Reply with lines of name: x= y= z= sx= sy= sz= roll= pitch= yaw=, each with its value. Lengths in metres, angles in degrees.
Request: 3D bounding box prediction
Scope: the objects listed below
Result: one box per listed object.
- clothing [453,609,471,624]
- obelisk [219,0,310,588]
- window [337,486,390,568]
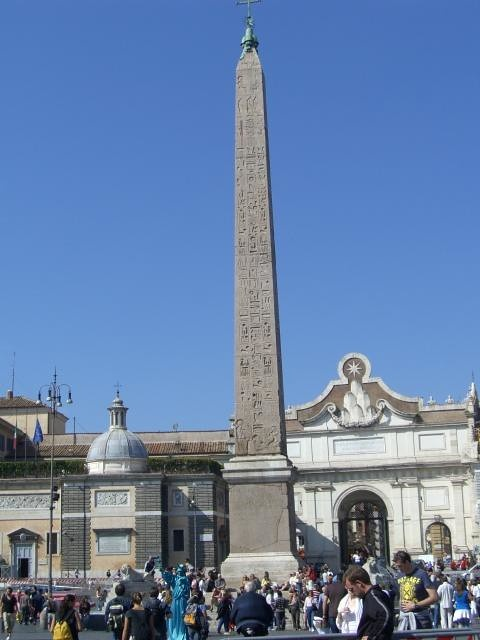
clothing: x=3.324 y=4.432 z=16.268 sx=0.259 sy=0.206 sz=0.252 roll=-6 pitch=11 yaw=18
obelisk: x=0.291 y=-0.515 z=23.602 sx=1.335 sy=12.258 sz=0.885 roll=-3 pitch=-14 yaw=3
window: x=6.745 y=11.522 z=57.830 sx=2.446 sy=4.640 sz=0.195 roll=-5 pitch=-52 yaw=11
